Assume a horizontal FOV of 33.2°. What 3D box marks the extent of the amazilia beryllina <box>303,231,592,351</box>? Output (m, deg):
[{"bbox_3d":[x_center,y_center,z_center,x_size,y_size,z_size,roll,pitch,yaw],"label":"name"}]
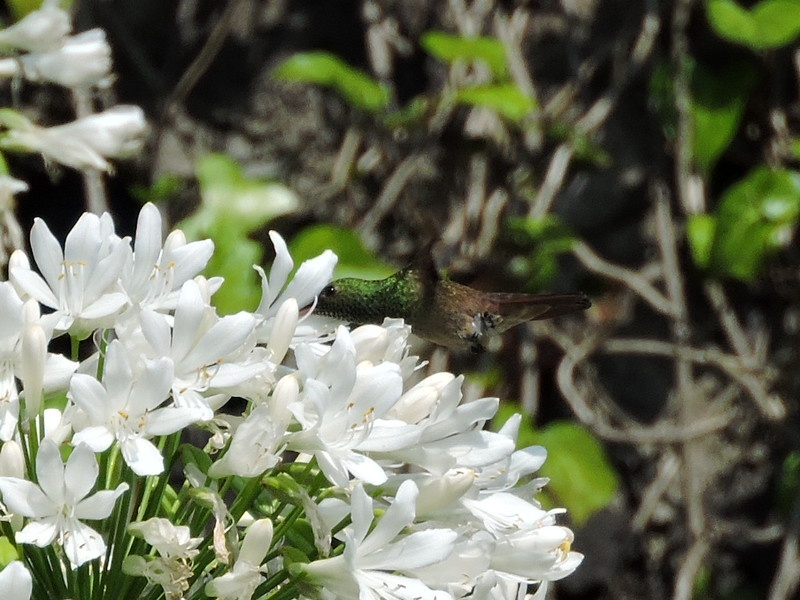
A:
[{"bbox_3d":[0.083,0.003,2.230,0.429,0.141,0.214,-10,84,-3],"label":"amazilia beryllina"}]
